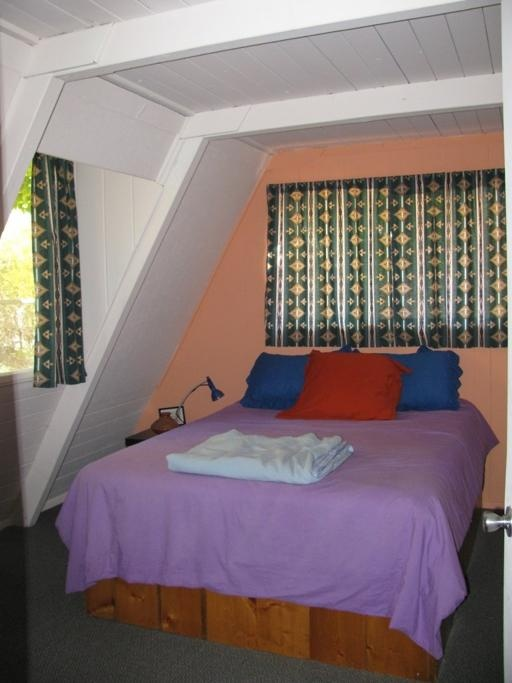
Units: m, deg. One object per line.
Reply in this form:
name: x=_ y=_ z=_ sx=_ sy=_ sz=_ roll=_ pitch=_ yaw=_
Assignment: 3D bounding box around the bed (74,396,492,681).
bed: x=0.145 y=0.728 z=2.670 sx=1.622 sy=0.524 sz=1.347 roll=0 pitch=2 yaw=22
